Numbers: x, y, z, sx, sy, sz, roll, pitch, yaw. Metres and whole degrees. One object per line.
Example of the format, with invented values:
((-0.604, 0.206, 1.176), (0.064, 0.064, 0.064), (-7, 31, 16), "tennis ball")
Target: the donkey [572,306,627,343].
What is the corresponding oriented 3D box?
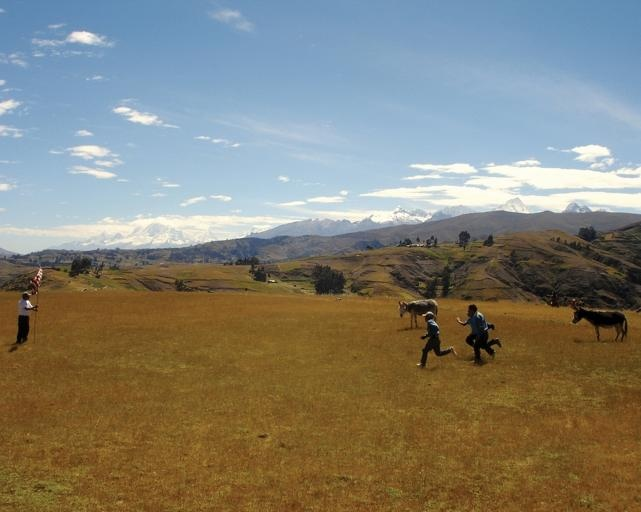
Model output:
((19.241, 4.711, 30.733), (3.357, 2.136, 0.786), (1, -4, 9), "donkey")
